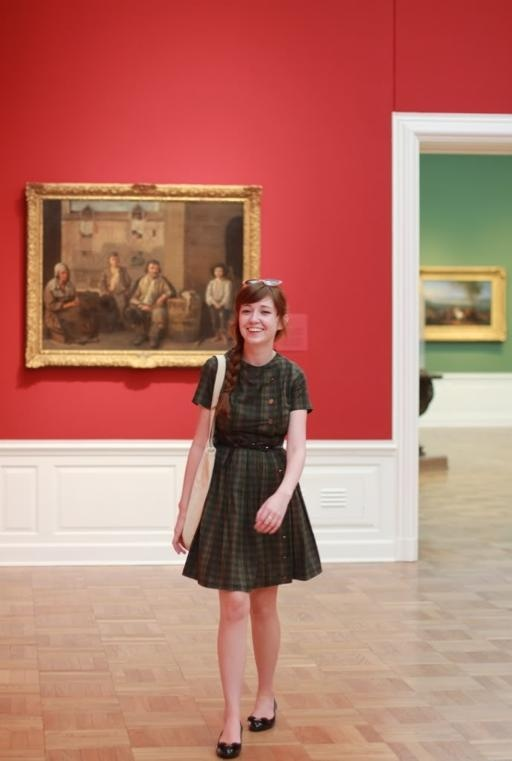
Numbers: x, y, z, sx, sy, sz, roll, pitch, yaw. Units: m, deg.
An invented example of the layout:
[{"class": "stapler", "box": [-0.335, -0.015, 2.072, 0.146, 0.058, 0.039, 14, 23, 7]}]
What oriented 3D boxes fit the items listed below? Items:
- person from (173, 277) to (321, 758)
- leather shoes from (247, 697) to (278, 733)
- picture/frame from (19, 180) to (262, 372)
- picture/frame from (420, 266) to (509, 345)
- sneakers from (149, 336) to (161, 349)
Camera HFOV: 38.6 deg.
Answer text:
[{"class": "person", "box": [-0.024, 0.472, 2.443, 0.460, 1.608, 0.512, 1, 7, 23]}, {"class": "leather shoes", "box": [0.027, 1.186, 2.588, 0.081, 0.091, 0.235, -3, -17, 13]}, {"class": "picture/frame", "box": [-0.896, -0.717, 5.046, 1.452, 1.168, 0.073, 0, 1, -2]}, {"class": "picture/frame", "box": [3.690, -1.350, 13.141, 1.522, 1.061, 0.099, 0, 1, -3]}, {"class": "sneakers", "box": [-0.734, -0.272, 5.268, 0.090, 0.099, 0.240, 1, 0, -10]}]
